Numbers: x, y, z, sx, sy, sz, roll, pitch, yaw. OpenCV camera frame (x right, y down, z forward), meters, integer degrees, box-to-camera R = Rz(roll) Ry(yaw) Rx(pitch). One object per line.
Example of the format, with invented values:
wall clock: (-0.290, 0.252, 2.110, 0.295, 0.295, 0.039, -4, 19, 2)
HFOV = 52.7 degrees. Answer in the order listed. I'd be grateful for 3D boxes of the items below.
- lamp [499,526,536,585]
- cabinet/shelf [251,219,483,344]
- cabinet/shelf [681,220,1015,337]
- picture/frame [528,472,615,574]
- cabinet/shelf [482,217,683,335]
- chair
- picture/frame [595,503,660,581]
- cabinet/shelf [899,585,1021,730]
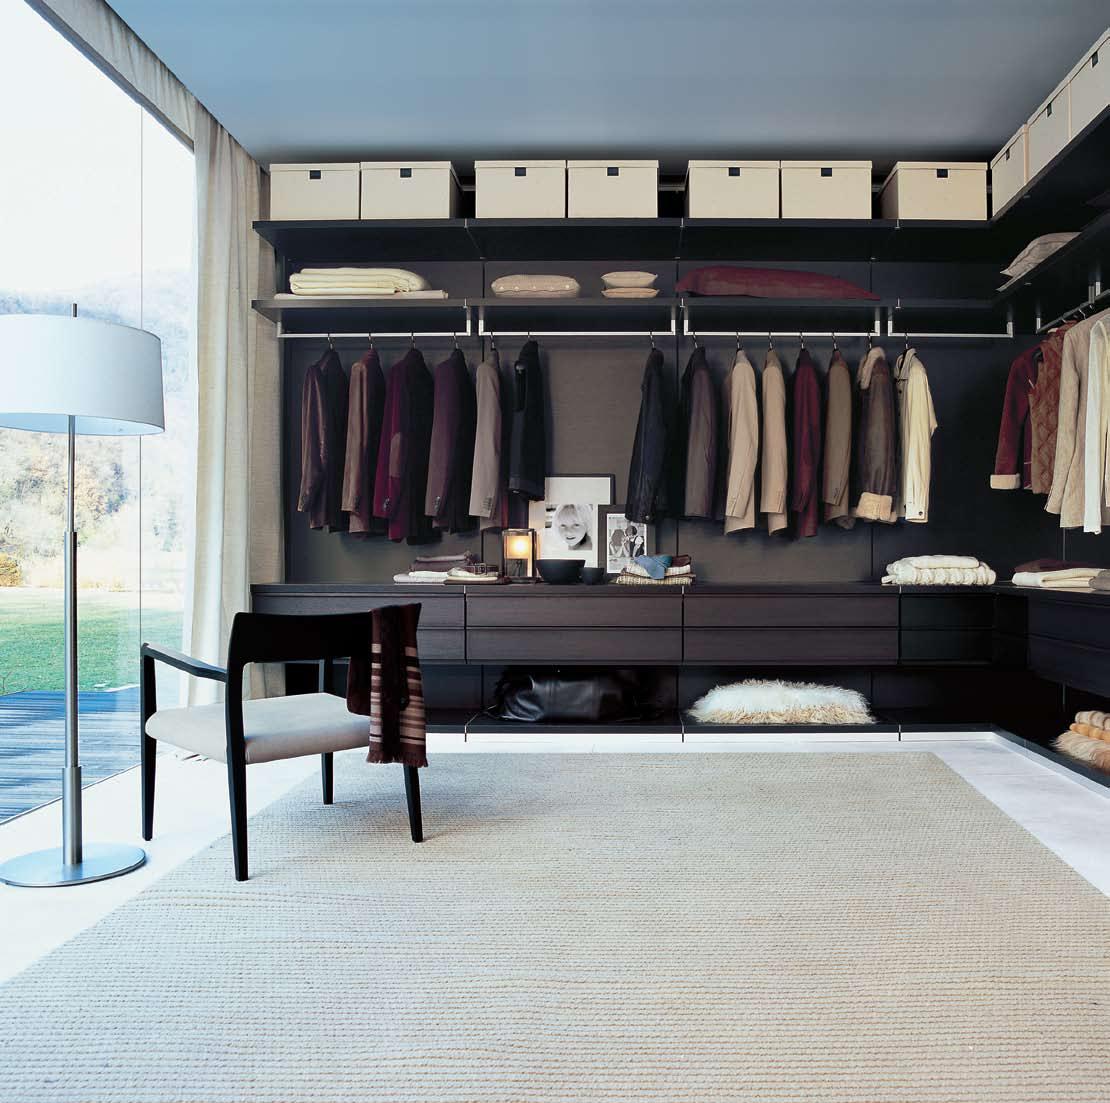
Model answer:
lamp: (-0.182, 0.005, 5.415, 0.168, 0.245, 0.243, 0, 7, -2)
cabinet/shelf: (-0.890, -1.273, 5.370, 1.024, 0.499, 0.634, 0, 7, -2)
cabinet/shelf: (1.436, -1.232, 5.518, 1.562, 0.634, 0.430, 2, -22, 6)
picture/frame: (0.071, -0.141, 5.520, 0.412, 0.490, 0.016, 1, 27, 2)
cabinet/shelf: (0.116, -1.266, 5.306, 0.982, 0.492, 0.532, 1, 7, 1)
chair: (-0.866, 0.511, 3.509, 0.753, 0.770, 0.665, -1, 3, -40)
picture/frame: (0.340, -0.043, 5.384, 0.321, 0.451, 0.028, -1, 2, -3)
cabinet/shelf: (1.764, 0.413, 5.151, 0.477, 0.504, 0.300, 0, -3, -4)
